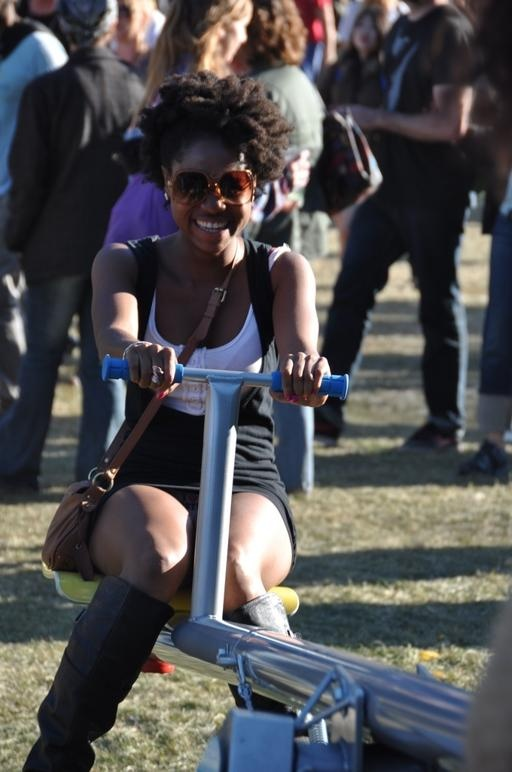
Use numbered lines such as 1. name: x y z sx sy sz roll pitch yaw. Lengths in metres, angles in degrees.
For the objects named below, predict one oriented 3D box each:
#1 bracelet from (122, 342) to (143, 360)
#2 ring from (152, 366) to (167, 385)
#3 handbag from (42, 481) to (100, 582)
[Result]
1. bracelet: -0.219 -0.061 2.053 0.041 0.014 0.031 -40 -28 24
2. ring: -0.163 -0.018 1.991 0.017 0.030 0.012 9 23 35
3. handbag: -0.336 0.268 2.230 0.109 0.168 0.099 7 6 15
